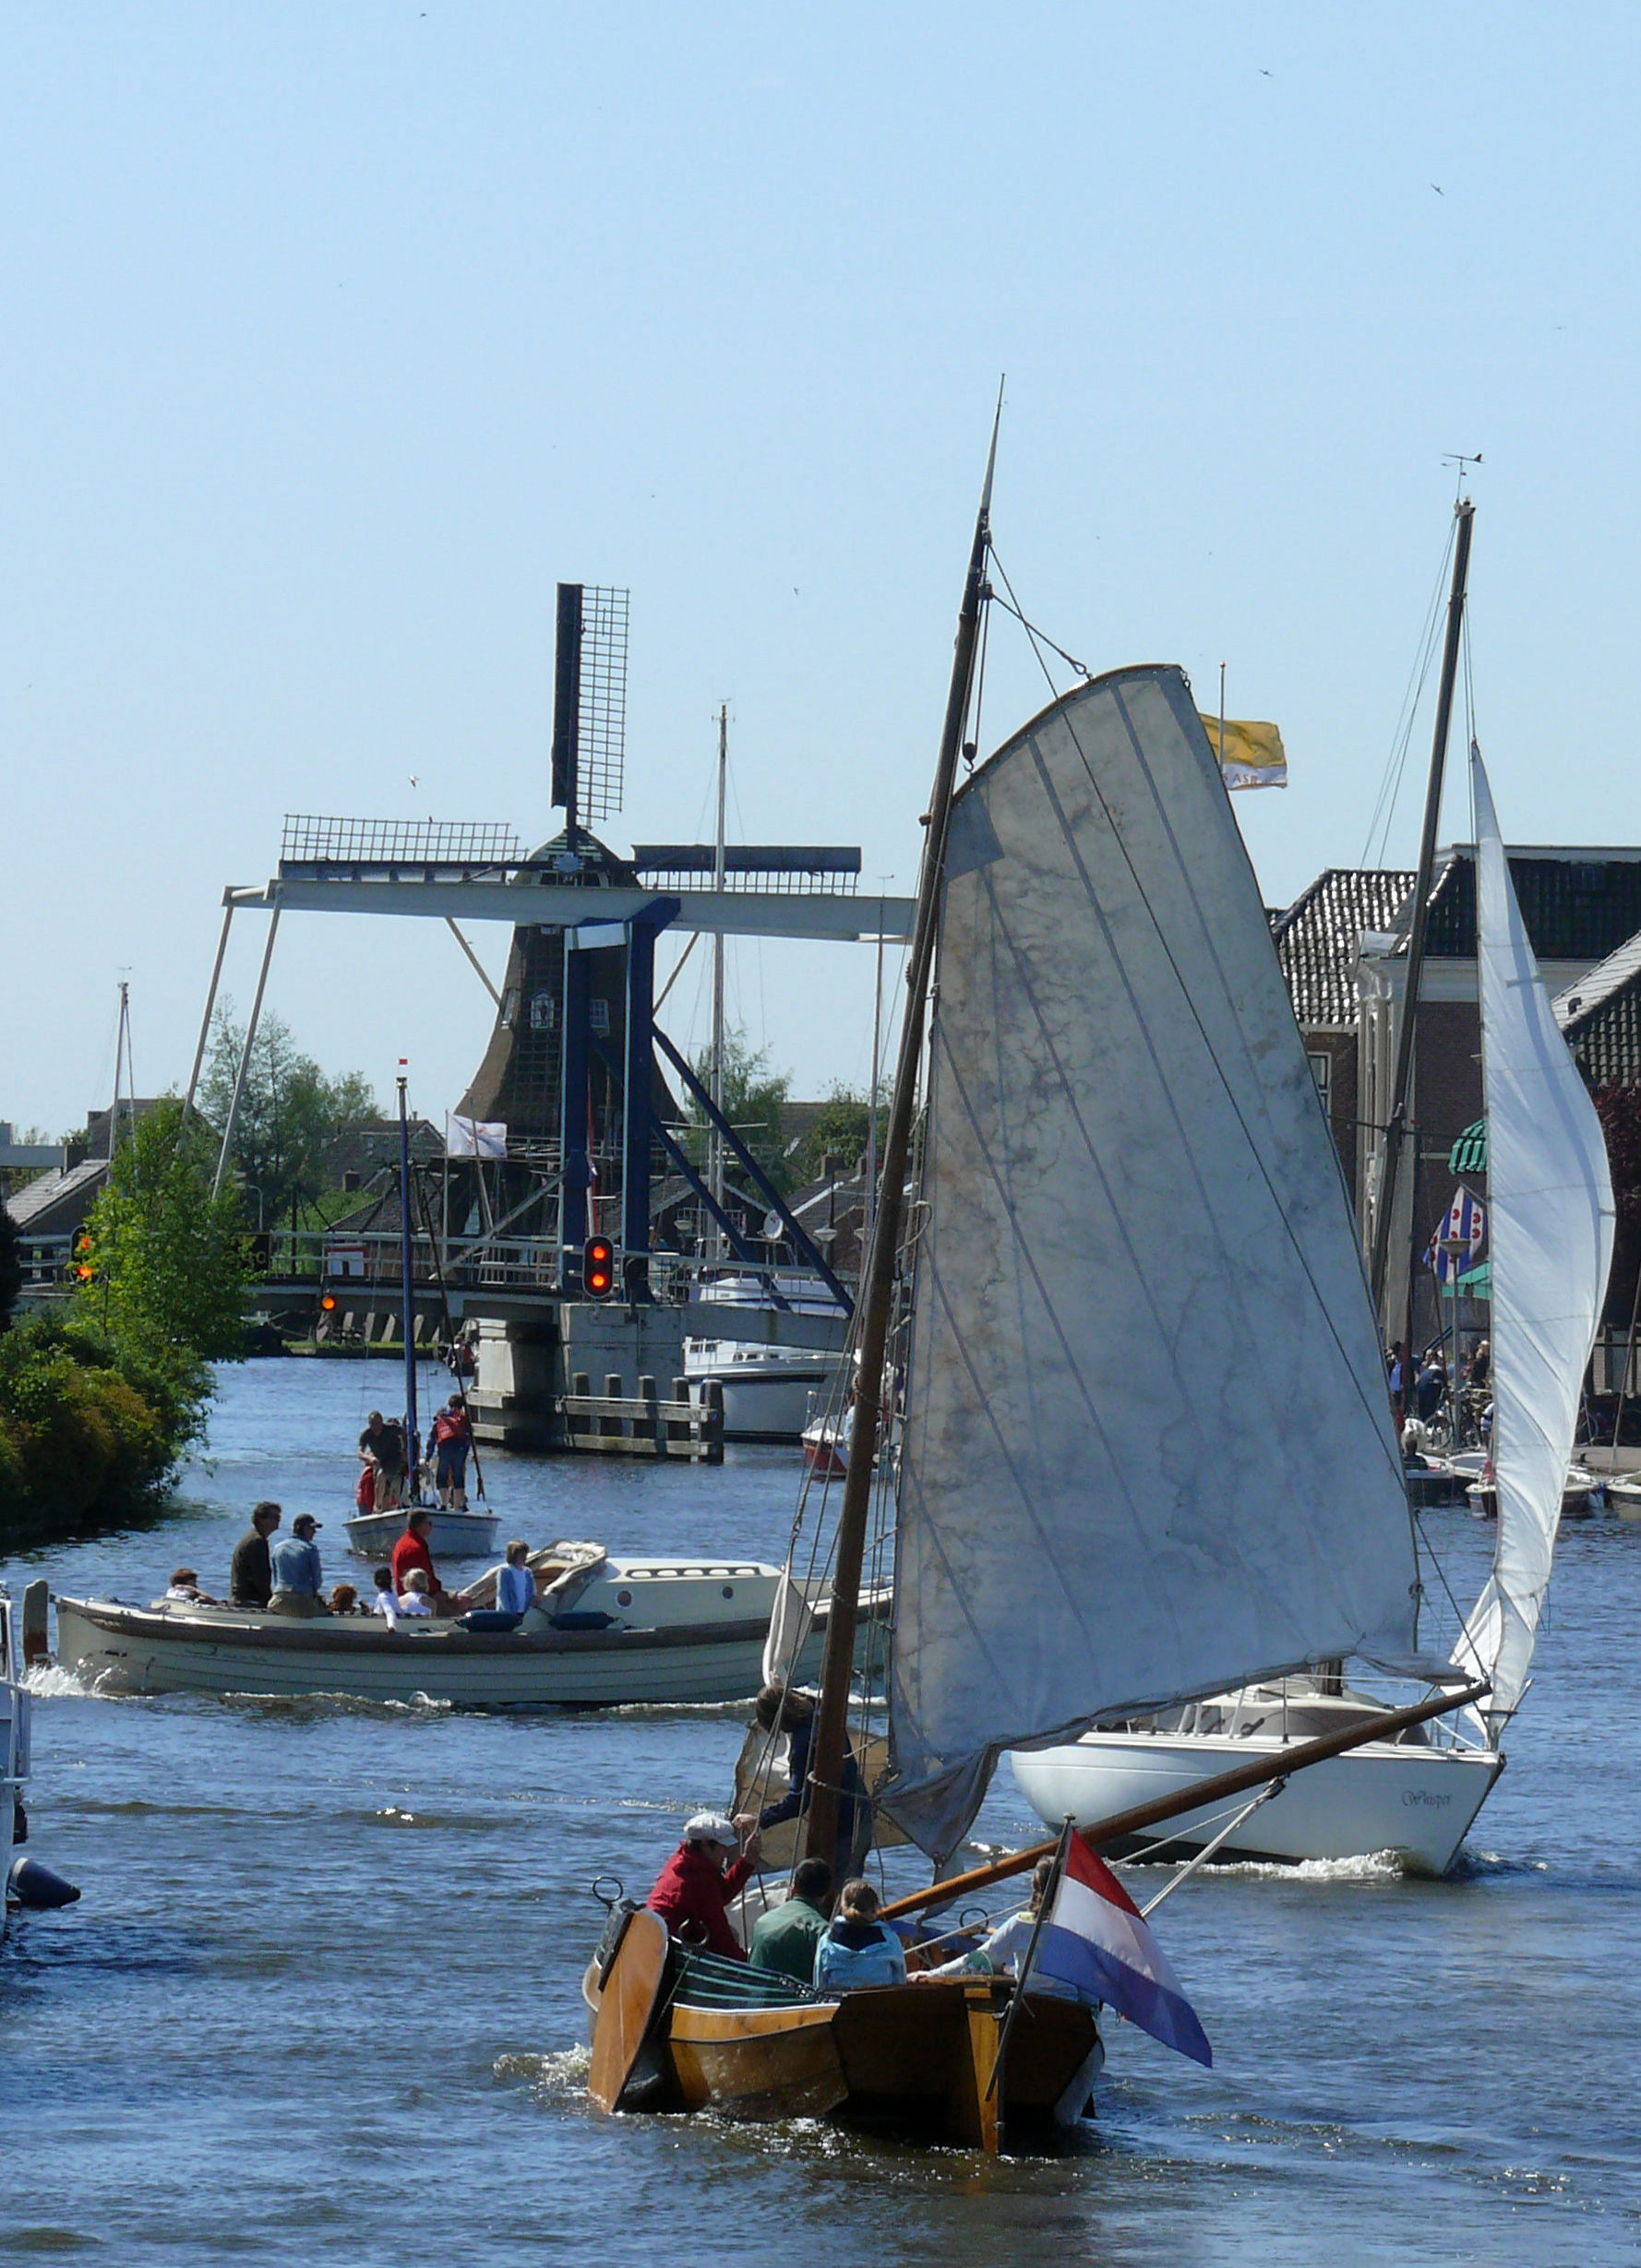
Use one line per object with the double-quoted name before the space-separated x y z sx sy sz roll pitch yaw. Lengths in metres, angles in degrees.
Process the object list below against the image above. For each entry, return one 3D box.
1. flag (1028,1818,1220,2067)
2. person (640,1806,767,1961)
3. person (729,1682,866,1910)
"flag" 1.498 3.791 23.260 0.867 0.084 1.062 11 47 1
"person" -0.588 3.850 25.255 0.524 0.720 1.581 1 -2 0
"person" -0.068 3.484 26.528 0.656 1.231 1.084 7 16 -1
